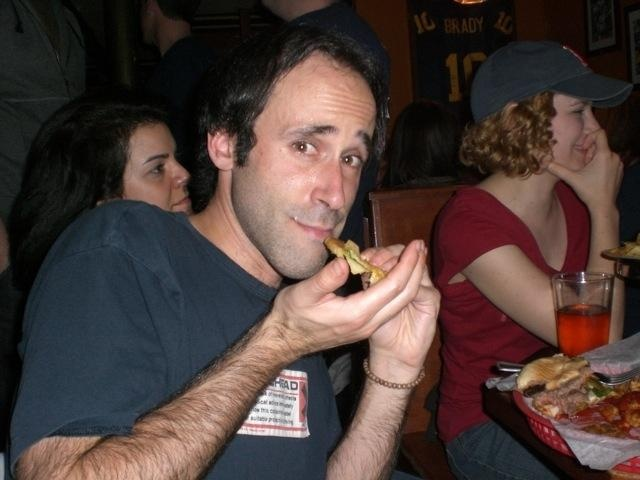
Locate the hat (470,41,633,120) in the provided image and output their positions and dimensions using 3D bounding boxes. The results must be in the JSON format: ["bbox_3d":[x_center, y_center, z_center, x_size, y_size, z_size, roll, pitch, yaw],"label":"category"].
[{"bbox_3d":[0.991,-0.699,2.431,0.539,0.275,0.357,-13,9,25],"label":"hat"}]

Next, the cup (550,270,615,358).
[{"bbox_3d":[0.891,0.257,1.988,0.251,0.407,0.267,-3,-5,0],"label":"cup"}]

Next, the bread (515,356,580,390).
[{"bbox_3d":[0.690,0.394,1.664,0.140,0.039,0.107,-12,15,20],"label":"bread"}]
